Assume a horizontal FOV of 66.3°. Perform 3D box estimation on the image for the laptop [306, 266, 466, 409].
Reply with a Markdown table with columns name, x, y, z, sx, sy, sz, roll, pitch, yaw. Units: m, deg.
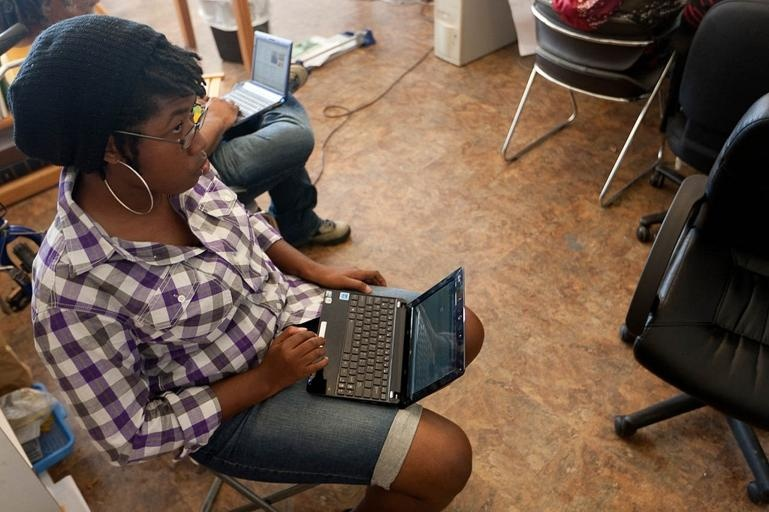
| name | x | y | z | sx | sy | sz | roll | pitch | yaw |
| --- | --- | --- | --- | --- | --- | --- | --- | --- | --- |
| laptop | -0.007 | 0.324 | 2.066 | 0.493 | 0.342 | 0.495 | 10 | 61 | -7 |

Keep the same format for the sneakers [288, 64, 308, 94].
| name | x | y | z | sx | sy | sz | roll | pitch | yaw |
| --- | --- | --- | --- | --- | --- | --- | --- | --- | --- |
| sneakers | -0.441 | -0.888 | 2.964 | 0.094 | 0.056 | 0.144 | 2 | 48 | 23 |

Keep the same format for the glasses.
| name | x | y | z | sx | sy | sz | roll | pitch | yaw |
| --- | --- | --- | --- | --- | --- | --- | --- | --- | --- |
| glasses | -0.670 | -0.379 | 1.766 | 0.175 | 0.052 | 0.173 | 10 | 44 | 2 |

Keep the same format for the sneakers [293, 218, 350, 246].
| name | x | y | z | sx | sy | sz | roll | pitch | yaw |
| --- | --- | --- | --- | --- | --- | --- | --- | --- | --- |
| sneakers | -0.347 | -0.109 | 3.037 | 0.321 | 0.150 | 0.123 | -5 | 58 | -3 |

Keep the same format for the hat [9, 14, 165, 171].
| name | x | y | z | sx | sy | sz | roll | pitch | yaw |
| --- | --- | --- | --- | --- | --- | --- | --- | --- | --- |
| hat | -0.837 | -0.462 | 1.666 | 0.404 | 0.303 | 0.244 | -2 | 47 | 2 |

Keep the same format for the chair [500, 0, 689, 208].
| name | x | y | z | sx | sy | sz | roll | pitch | yaw |
| --- | --- | --- | --- | --- | --- | --- | --- | --- | --- |
| chair | 1.125 | -0.767 | 3.105 | 0.686 | 1.137 | 0.778 | 24 | 66 | 23 |
